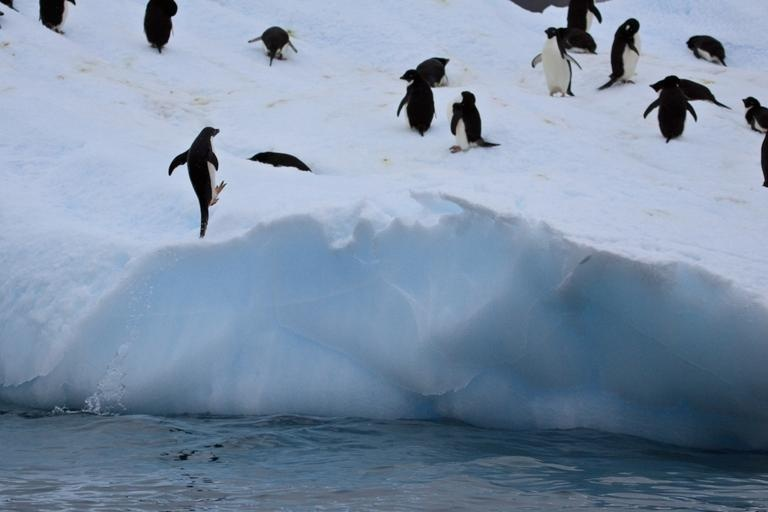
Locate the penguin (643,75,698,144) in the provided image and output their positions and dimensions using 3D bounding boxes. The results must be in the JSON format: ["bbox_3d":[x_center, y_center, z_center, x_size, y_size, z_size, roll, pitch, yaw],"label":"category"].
[{"bbox_3d":[3.293,-1.706,15.541,0.658,0.638,0.819,-1,21,-8],"label":"penguin"}]

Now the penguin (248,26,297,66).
[{"bbox_3d":[-1.476,-2.857,18.289,0.679,0.454,0.830,5,30,-5],"label":"penguin"}]

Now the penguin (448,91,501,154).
[{"bbox_3d":[0.993,-1.494,15.404,0.816,0.682,0.586,3,1,18],"label":"penguin"}]

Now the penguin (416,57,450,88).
[{"bbox_3d":[0.698,-2.402,17.584,0.391,0.163,0.528,14,33,20],"label":"penguin"}]

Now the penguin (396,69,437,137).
[{"bbox_3d":[0.399,-1.791,15.798,0.437,0.608,0.760,10,31,1],"label":"penguin"}]
